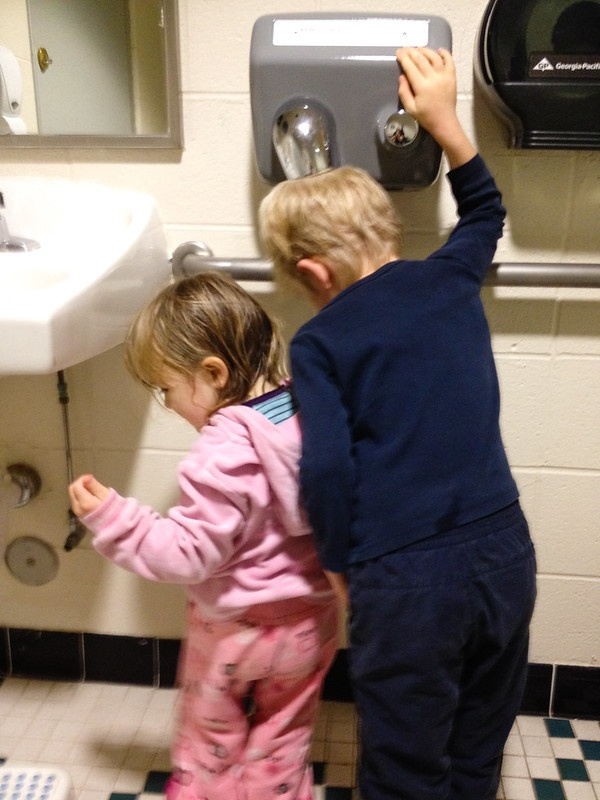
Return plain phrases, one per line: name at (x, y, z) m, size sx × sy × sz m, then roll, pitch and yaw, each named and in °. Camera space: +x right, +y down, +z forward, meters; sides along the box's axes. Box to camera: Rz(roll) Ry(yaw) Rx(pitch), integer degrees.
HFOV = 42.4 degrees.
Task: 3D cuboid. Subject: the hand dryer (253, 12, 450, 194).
hand dryer at (0.058, -0.405, 1.148) m, size 0.359 × 0.250 × 0.237 m, roll 0°, pitch 27°, yaw 3°
